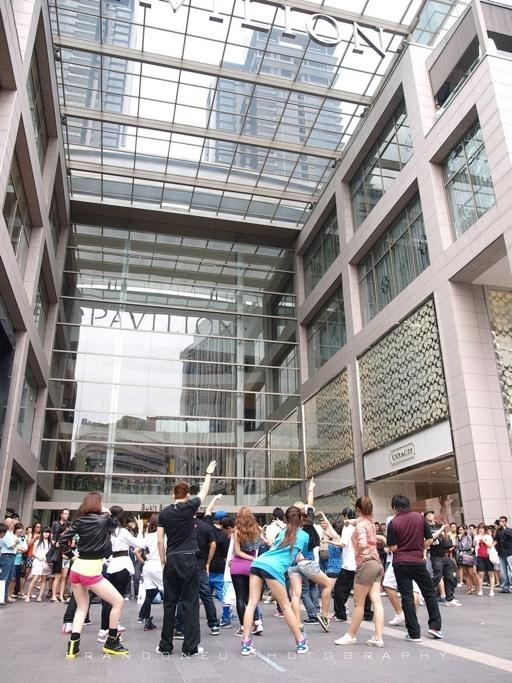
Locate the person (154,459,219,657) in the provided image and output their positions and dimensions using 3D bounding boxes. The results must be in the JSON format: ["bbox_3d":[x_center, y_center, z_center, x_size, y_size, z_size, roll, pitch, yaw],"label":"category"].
[{"bbox_3d":[-0.618,1.974,4.178,0.570,1.582,0.336,-2,-10,-4],"label":"person"}]

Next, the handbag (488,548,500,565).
[{"bbox_3d":[5.274,4.733,9.972,0.134,0.371,0.237,-19,-14,41],"label":"handbag"}]
